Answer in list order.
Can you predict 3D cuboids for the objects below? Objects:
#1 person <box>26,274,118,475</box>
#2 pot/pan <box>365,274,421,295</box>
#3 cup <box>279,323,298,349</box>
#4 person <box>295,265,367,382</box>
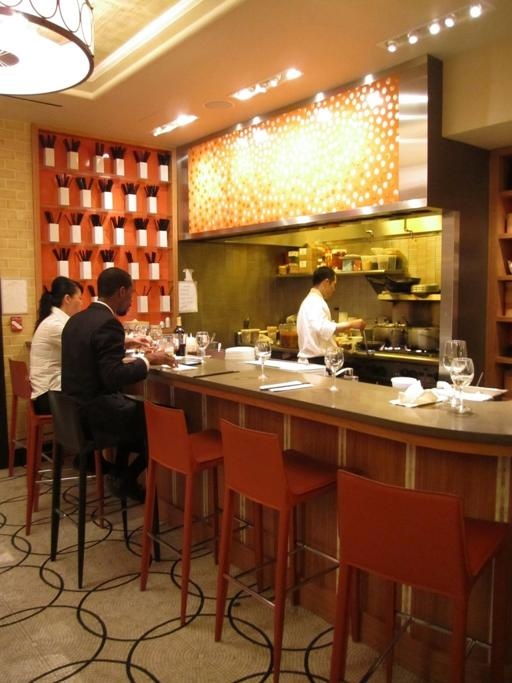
[{"bbox_3d":[-1.408,0.064,4.127,0.552,1.760,0.659,-3,10,-35],"label":"person"},{"bbox_3d":[1.265,-0.543,5.141,0.545,0.202,0.313,1,3,37],"label":"pot/pan"},{"bbox_3d":[0.324,-0.040,5.505,0.209,0.231,0.216,0,1,0],"label":"cup"},{"bbox_3d":[0.586,-0.163,4.612,0.415,0.909,0.493,-1,9,-28],"label":"person"}]
